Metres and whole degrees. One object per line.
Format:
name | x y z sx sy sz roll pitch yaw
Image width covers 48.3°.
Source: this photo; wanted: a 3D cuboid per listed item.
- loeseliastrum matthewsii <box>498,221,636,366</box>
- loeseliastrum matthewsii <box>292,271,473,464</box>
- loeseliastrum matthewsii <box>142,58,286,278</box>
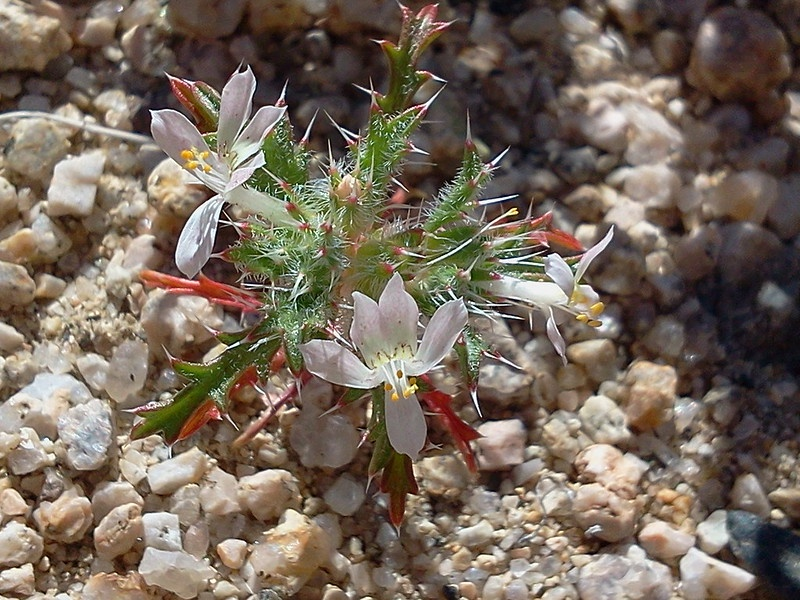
loeseliastrum matthewsii | 0.536 -0.013 3.364 0.394 0.284 0.268 23 91 17
loeseliastrum matthewsii | -0.034 0.201 3.084 0.568 0.213 0.602 -17 95 4
loeseliastrum matthewsii | -0.660 -0.596 3.288 0.481 0.556 0.203 13 55 3
